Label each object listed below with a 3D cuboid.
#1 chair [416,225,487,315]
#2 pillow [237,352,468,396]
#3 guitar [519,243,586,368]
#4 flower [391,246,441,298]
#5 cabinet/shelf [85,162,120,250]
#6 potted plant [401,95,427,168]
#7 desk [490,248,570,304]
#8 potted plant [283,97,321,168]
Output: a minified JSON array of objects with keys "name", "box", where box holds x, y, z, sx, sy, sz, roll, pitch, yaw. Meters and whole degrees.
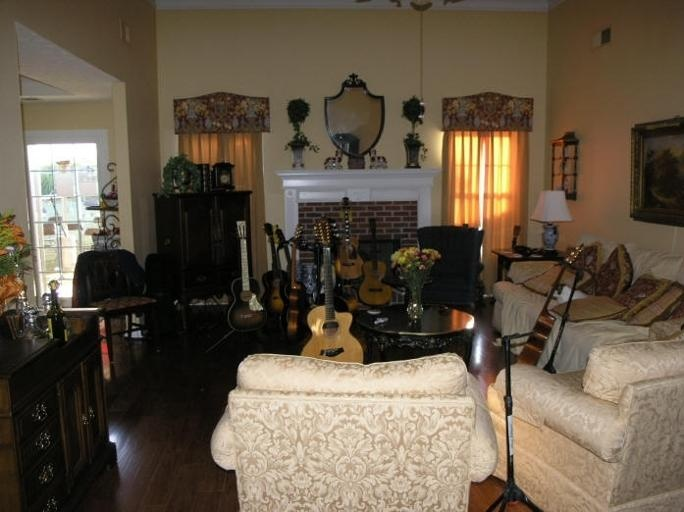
[{"name":"chair","box":[1.461,0.120,6.635,0.925,1.214,1.040,0,-1,7]},{"name":"pillow","box":[0.040,0.560,2.582,1.076,0.183,0.117,-1,8,3]},{"name":"guitar","box":[1.536,0.607,4.145,0.246,0.321,0.906,-18,-32,0]},{"name":"flower","box":[0.579,0.085,4.675,0.465,0.534,0.480,0,2,-3]},{"name":"cabinet/shelf","box":[-3.030,-0.656,6.935,0.376,1.110,1.337,-5,8,-24]},{"name":"potted plant","box":[0.910,-1.597,7.003,0.295,0.945,0.457,0,8,7]},{"name":"desk","box":[2.280,0.239,6.807,0.537,0.384,0.591,1,6,-4]},{"name":"potted plant","box":[-0.513,-1.557,6.933,0.427,0.888,0.450,-2,8,-4]}]
